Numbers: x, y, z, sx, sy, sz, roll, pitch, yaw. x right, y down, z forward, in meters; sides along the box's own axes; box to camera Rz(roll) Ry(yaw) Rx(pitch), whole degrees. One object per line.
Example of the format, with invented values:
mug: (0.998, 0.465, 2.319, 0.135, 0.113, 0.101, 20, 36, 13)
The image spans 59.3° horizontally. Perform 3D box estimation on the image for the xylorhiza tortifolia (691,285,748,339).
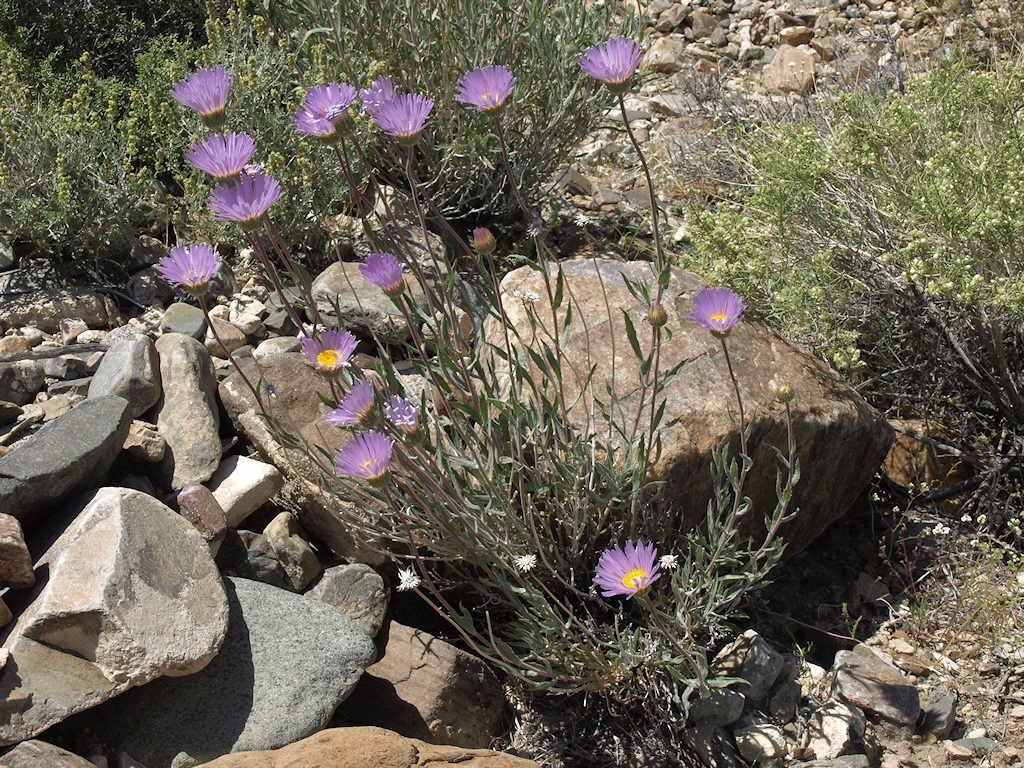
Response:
xylorhiza tortifolia: (0.595, -0.231, 2.585, 0.143, 0.097, 0.158, 9, 7, 3)

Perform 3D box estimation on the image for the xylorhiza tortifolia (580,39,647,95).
xylorhiza tortifolia: (0.280, -0.898, 2.516, 0.145, 0.161, 0.166, 14, 42, 10)
